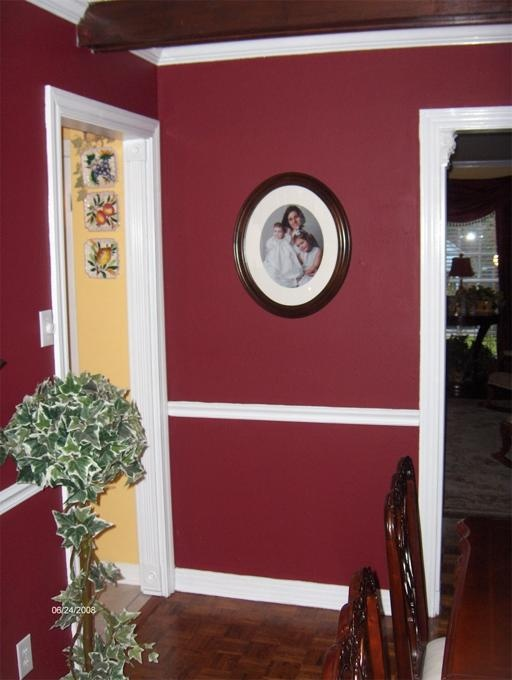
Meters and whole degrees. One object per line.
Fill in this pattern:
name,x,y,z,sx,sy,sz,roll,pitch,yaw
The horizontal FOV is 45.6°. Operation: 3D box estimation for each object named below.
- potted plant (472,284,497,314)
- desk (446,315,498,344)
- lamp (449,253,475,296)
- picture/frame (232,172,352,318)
potted plant,2.768,-0.501,7.376,0.332,0.361,0.296,-3,3,-44
desk,2.495,-0.147,7.207,0.610,0.300,0.491,2,6,37
lamp,2.493,-0.814,7.410,0.247,0.480,0.330,1,6,35
picture/frame,0.184,-0.446,2.740,0.622,0.782,0.054,-2,4,17
